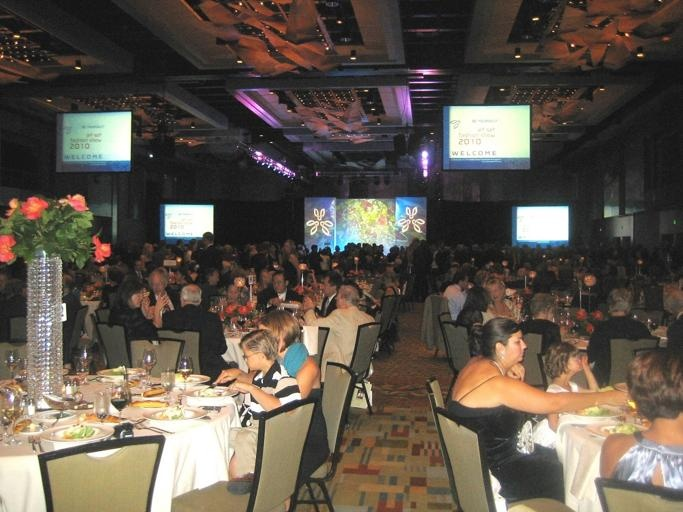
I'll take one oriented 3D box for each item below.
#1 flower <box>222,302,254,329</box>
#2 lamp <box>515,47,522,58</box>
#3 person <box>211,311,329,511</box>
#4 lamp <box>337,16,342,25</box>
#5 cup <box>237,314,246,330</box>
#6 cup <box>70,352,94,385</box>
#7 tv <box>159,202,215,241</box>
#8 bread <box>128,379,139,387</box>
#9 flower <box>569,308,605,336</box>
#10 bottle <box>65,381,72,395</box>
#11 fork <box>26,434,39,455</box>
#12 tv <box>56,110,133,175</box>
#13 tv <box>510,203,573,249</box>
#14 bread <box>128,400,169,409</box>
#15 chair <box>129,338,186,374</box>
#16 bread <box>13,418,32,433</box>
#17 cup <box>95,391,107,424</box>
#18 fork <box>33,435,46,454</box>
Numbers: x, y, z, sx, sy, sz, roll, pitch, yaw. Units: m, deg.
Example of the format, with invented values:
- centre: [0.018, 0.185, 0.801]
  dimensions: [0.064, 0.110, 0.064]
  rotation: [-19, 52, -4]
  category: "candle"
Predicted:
- centre: [-1.222, 0.704, 7.112]
  dimensions: [0.308, 0.313, 0.299]
  rotation: [3, 0, 37]
  category: "flower"
- centre: [2.626, -2.998, 8.787]
  dimensions: [0.109, 0.176, 0.108]
  rotation: [0, 6, 26]
  category: "lamp"
- centre: [-0.500, 1.106, 4.275]
  dimensions: [0.951, 1.299, 0.930]
  rotation: [-18, -18, 29]
  category: "person"
- centre: [-0.015, -3.120, 7.935]
  dimensions: [0.090, 0.028, 0.189]
  rotation: [2, 4, 0]
  category: "lamp"
- centre: [-1.163, 0.769, 7.014]
  dimensions: [0.146, 0.150, 0.139]
  rotation: [0, -9, 0]
  category: "cup"
- centre: [-1.939, 0.882, 4.562]
  dimensions: [0.153, 0.211, 0.141]
  rotation: [7, -19, 2]
  category: "cup"
- centre: [-5.342, -1.083, 21.848]
  dimensions: [2.371, 1.541, 1.291]
  rotation: [1, 0, 11]
  category: "tv"
- centre: [-1.598, 0.974, 4.594]
  dimensions: [0.106, 0.026, 0.102]
  rotation: [5, 4, 3]
  category: "bread"
- centre: [2.819, 0.749, 6.791]
  dimensions: [0.383, 0.258, 0.370]
  rotation: [3, -2, -42]
  category: "flower"
- centre: [-1.884, 0.912, 4.107]
  dimensions: [0.058, 0.098, 0.056]
  rotation: [1, 2, 0]
  category: "bottle"
- centre: [-1.776, 1.088, 3.438]
  dimensions: [0.053, 0.019, 0.187]
  rotation: [2, 14, -24]
  category: "fork"
- centre: [-4.055, -1.863, 9.749]
  dimensions: [1.137, 0.814, 0.109]
  rotation: [-1, -3, 3]
  category: "tv"
- centre: [7.135, -1.010, 22.468]
  dimensions: [2.747, 1.717, 1.353]
  rotation: [-3, 3, -21]
  category: "tv"
- centre: [-1.304, 1.006, 4.053]
  dimensions: [0.180, 0.037, 0.102]
  rotation: [2, -2, 10]
  category: "bread"
- centre: [-1.575, 0.854, 5.113]
  dimensions: [0.334, 0.534, 0.355]
  rotation: [0, -5, 7]
  category: "chair"
- centre: [-1.947, 1.038, 3.644]
  dimensions: [0.067, 0.022, 0.075]
  rotation: [-2, 5, -5]
  category: "bread"
- centre: [-1.467, 0.919, 3.631]
  dimensions: [0.070, 0.192, 0.076]
  rotation: [2, 5, 0]
  category: "cup"
- centre: [-1.745, 1.089, 3.446]
  dimensions: [0.046, 0.032, 0.293]
  rotation: [3, 5, -30]
  category: "fork"
